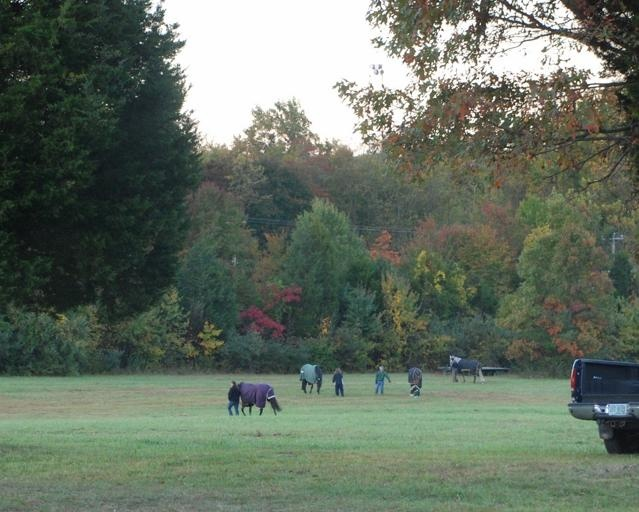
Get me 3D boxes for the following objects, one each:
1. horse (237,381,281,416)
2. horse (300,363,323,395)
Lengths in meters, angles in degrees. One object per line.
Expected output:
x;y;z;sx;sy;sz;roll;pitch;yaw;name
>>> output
-2.904;6.286;77.721;2.498;1.536;0.800;1;4;35;horse
-0.428;6.284;89.194;0.883;1.607;1.704;3;-11;-9;horse
